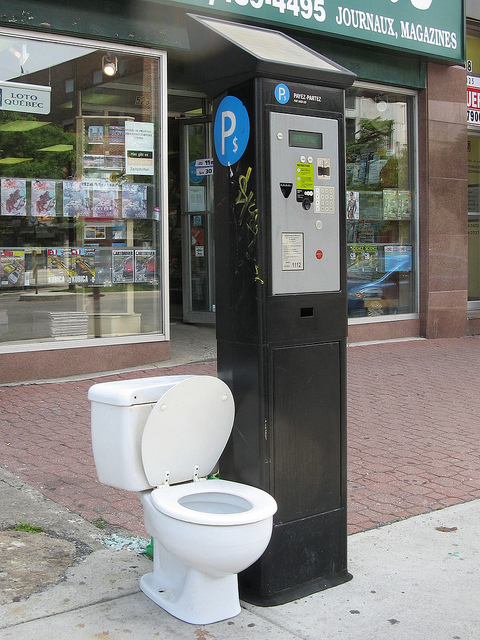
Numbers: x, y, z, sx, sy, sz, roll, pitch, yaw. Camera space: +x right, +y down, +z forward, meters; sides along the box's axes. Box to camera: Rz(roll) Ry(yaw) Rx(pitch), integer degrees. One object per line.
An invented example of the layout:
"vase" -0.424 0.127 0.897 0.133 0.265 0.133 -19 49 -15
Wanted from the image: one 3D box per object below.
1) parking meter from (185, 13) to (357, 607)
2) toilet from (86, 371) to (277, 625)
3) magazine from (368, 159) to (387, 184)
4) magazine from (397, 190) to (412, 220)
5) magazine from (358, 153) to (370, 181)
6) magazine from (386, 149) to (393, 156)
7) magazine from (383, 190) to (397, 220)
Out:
"parking meter" 0.169 -0.102 2.451 0.636 2.358 0.440 -2 -2 -42
"toilet" -0.188 0.639 2.133 0.523 0.842 0.778 0 1 -33
"magazine" 2.411 -2.596 10.157 0.354 0.322 0.029 0 1 -23
"magazine" 2.969 -2.076 10.392 0.360 0.405 0.075 0 1 -33
"magazine" 2.154 -2.658 10.038 0.203 0.343 0.035 0 1 -29
"magazine" 2.642 -2.954 10.237 0.119 0.111 0.058 -2 8 -18
"magazine" 2.669 -2.034 10.268 0.324 0.391 0.058 0 1 -27
